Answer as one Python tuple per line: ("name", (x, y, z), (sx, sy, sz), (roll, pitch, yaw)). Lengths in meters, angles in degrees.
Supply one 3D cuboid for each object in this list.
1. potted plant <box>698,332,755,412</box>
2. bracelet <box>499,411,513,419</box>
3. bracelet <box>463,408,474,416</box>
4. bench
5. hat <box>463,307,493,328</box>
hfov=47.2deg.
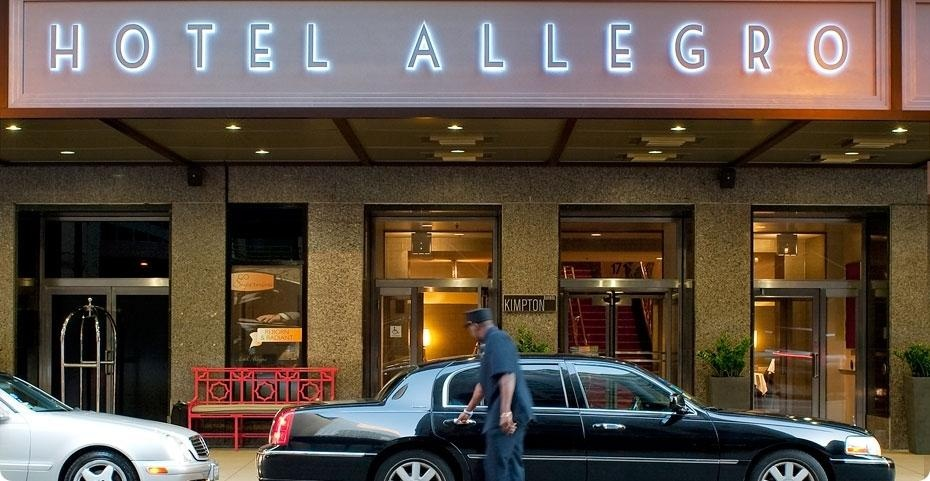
("potted plant", (5.971, 3.052, 24.213), (1.419, 1.555, 1.226), (-1, -4, 32))
("bracelet", (0.715, 3.089, 18.595), (0.229, 0.189, 0.120), (1, -8, -4))
("bracelet", (0.046, 3.094, 19.101), (0.177, 0.095, 0.203), (1, -5, 4))
("bench", (-4.668, 3.726, 23.825), (3.335, 1.520, 0.941), (-3, -9, 9))
("hat", (0.230, 1.359, 19.005), (0.404, 0.182, 0.297), (2, -1, 13))
